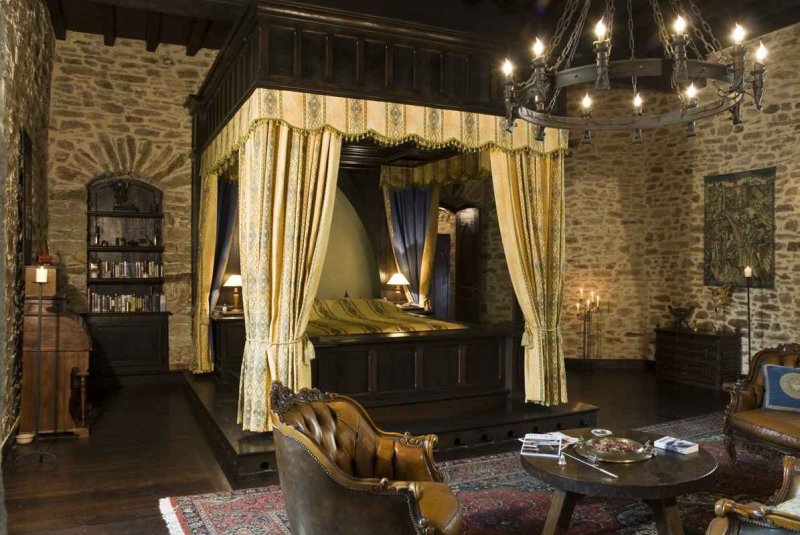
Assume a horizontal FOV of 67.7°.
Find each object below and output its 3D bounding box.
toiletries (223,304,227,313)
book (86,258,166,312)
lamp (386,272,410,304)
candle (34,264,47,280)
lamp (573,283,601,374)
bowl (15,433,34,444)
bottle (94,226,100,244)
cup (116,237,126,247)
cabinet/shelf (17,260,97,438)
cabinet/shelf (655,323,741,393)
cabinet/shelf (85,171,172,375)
[{"bbox_3d":[-2.833,0.678,9.606,0.106,0.171,0.094,-1,9,-17],"label":"toiletries"},{"bbox_3d":[-4.526,0.310,9.731,0.894,0.803,0.290,0,-9,-16],"label":"book"},{"bbox_3d":[-0.093,0.387,10.863,0.539,0.654,0.557,-1,2,11],"label":"lamp"},{"bbox_3d":[-4.044,0.078,6.725,0.120,0.189,0.375,-4,9,-30],"label":"candle"},{"bbox_3d":[3.413,1.057,10.931,0.445,1.346,0.288,3,9,15],"label":"lamp"},{"bbox_3d":[-4.320,1.965,6.839,0.137,0.047,0.135,1,2,0],"label":"bowl"},{"bbox_3d":[-4.919,-0.507,9.684,0.071,0.273,0.144,-1,9,-9],"label":"bottle"},{"bbox_3d":[-4.605,-0.407,9.799,0.138,0.134,0.253,5,0,-4],"label":"cup"},{"bbox_3d":[-4.107,1.004,7.050,0.783,2.112,0.862,-7,11,-39],"label":"cabinet/shelf"},{"bbox_3d":[4.885,1.543,9.802,0.725,0.925,1.162,0,0,-28],"label":"cabinet/shelf"},{"bbox_3d":[-4.462,0.132,9.733,1.211,3.173,0.894,-3,9,-22],"label":"cabinet/shelf"}]
